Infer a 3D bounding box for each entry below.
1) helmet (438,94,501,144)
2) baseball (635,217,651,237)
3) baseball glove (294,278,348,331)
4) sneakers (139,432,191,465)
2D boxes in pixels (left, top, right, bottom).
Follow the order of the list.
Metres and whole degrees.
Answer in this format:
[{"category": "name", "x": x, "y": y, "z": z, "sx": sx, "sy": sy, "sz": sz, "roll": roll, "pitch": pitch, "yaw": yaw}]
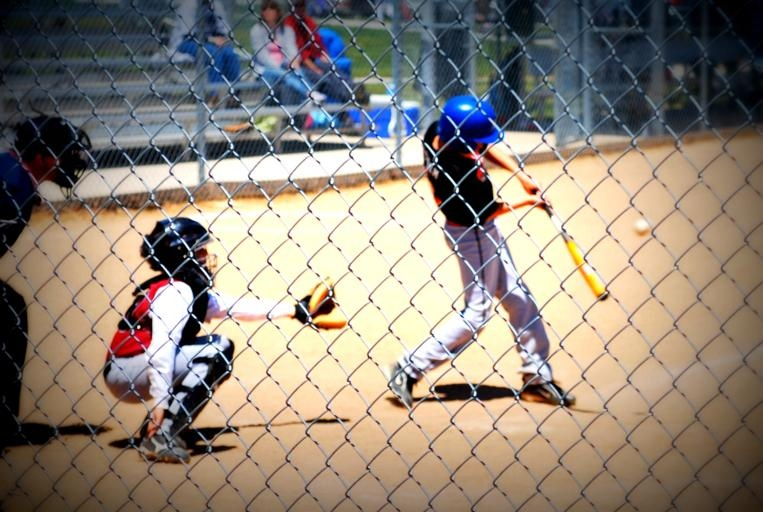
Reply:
[{"category": "helmet", "x": 0.771, "y": -1.064, "z": 8.651, "sx": 0.513, "sy": 0.285, "sz": 0.379, "roll": 3, "pitch": 12, "yaw": 40}, {"category": "baseball", "x": 2.763, "y": -0.302, "z": 11.045, "sx": 0.179, "sy": 0.204, "sz": 0.104, "roll": 3, "pitch": -1, "yaw": 6}, {"category": "baseball glove", "x": -0.509, "y": 0.425, "z": 8.644, "sx": 0.371, "sy": 0.532, "sz": 0.141, "roll": -29, "pitch": 60, "yaw": -22}, {"category": "sneakers", "x": -1.740, "y": 1.546, "z": 8.376, "sx": 0.474, "sy": 0.261, "sz": 0.218, "roll": 0, "pitch": -5, "yaw": 11}]
